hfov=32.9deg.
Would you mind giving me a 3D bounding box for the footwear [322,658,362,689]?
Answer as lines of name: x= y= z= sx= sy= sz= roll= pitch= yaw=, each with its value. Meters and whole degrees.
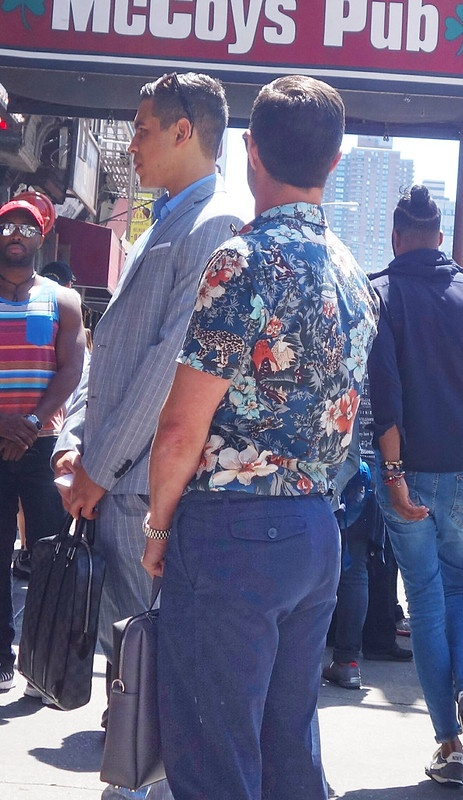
footwear: x=0.595 y=1.472 z=4.256 sx=0.092 sy=0.123 sz=0.249 roll=0 pitch=2 yaw=-25
